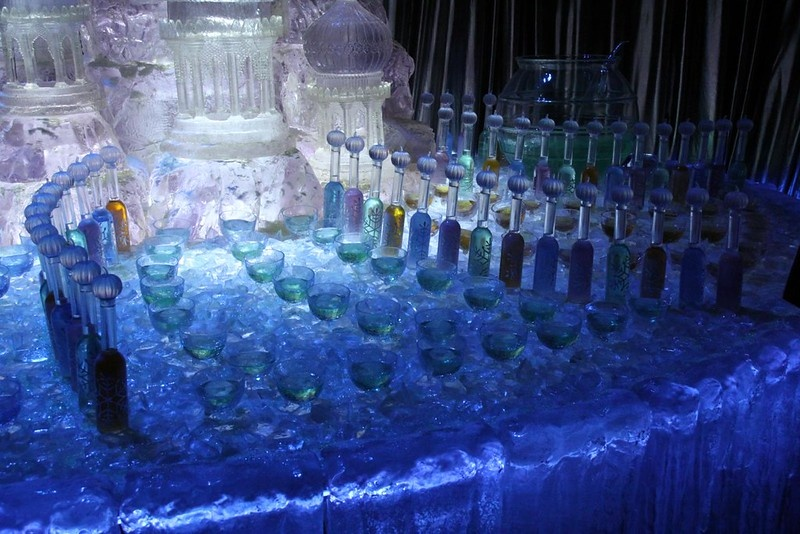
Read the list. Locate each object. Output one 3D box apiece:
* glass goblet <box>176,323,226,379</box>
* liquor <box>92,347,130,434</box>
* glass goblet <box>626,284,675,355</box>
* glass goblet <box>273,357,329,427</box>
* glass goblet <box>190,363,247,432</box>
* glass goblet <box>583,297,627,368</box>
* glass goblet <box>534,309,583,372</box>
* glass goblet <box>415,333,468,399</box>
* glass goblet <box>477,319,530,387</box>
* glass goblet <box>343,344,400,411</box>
[{"bbox_3d":[-0.431,0.168,1.295,0.106,0.097,0.112,3,17,6],"label":"glass goblet"},{"bbox_3d":[-0.563,0.237,1.123,0.060,0.168,0.040,-7,18,-29],"label":"liquor"},{"bbox_3d":[0.648,0.136,1.520,0.089,0.277,0.081,-19,-48,41],"label":"glass goblet"},{"bbox_3d":[-0.201,0.254,1.229,0.106,0.105,0.115,-7,26,-18],"label":"glass goblet"},{"bbox_3d":[-0.367,0.255,1.176,0.097,0.098,0.129,-9,19,-34],"label":"glass goblet"},{"bbox_3d":[0.512,0.170,1.451,0.118,0.173,0.118,-3,-1,6],"label":"glass goblet"},{"bbox_3d":[0.375,0.178,1.365,0.082,0.089,0.079,4,-11,-10],"label":"glass goblet"},{"bbox_3d":[0.098,0.222,1.303,0.118,0.134,0.129,4,-9,38],"label":"glass goblet"},{"bbox_3d":[0.242,0.174,1.351,0.111,0.116,0.113,0,0,18],"label":"glass goblet"},{"bbox_3d":[-0.062,0.217,1.223,0.103,0.077,0.091,7,16,18],"label":"glass goblet"}]
